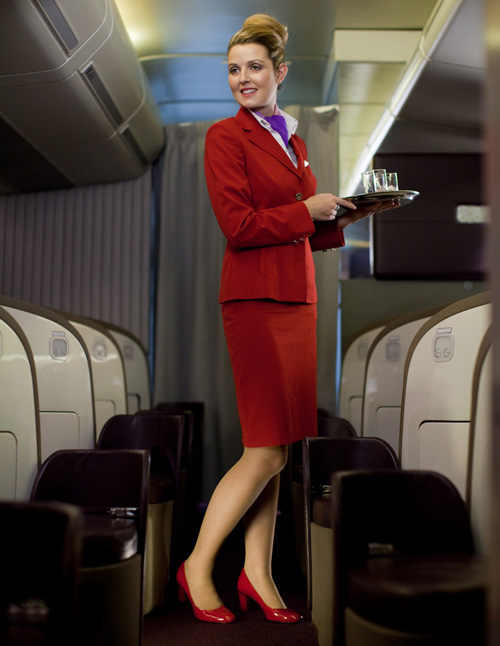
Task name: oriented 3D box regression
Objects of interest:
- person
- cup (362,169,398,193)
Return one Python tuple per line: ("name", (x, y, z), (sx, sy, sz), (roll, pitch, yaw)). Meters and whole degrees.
("person", (0.056, -0.026, 1.201), (0.385, 1.429, 0.320), (2, -2, -24))
("cup", (0.293, -0.320, 1.196), (0.068, 0.066, 0.077), (-2, -4, 18))
